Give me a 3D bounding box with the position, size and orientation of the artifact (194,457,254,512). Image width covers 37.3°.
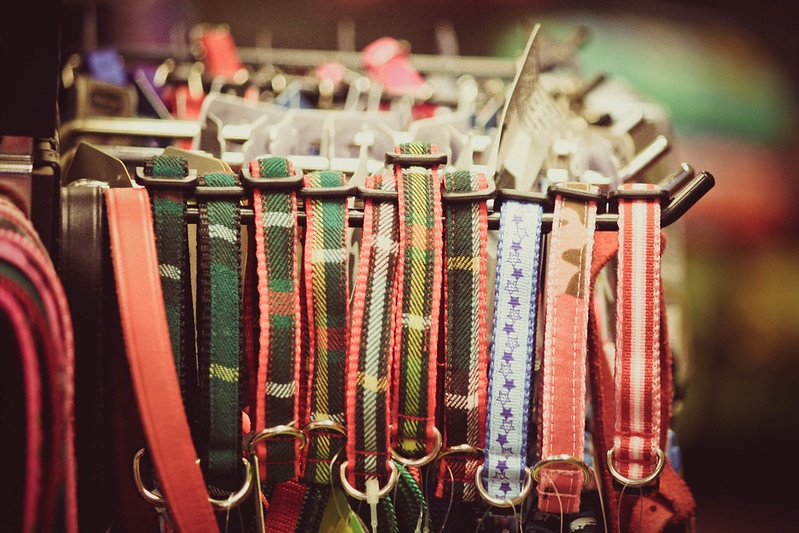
[{"bbox_3d":[-0.322,0.415,2.288,0.100,0.095,0.022,-20,15,-13],"label":"artifact"}]

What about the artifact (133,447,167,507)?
[{"bbox_3d":[-0.484,0.407,2.287,0.029,0.100,0.082,-15,-4,-4],"label":"artifact"}]
